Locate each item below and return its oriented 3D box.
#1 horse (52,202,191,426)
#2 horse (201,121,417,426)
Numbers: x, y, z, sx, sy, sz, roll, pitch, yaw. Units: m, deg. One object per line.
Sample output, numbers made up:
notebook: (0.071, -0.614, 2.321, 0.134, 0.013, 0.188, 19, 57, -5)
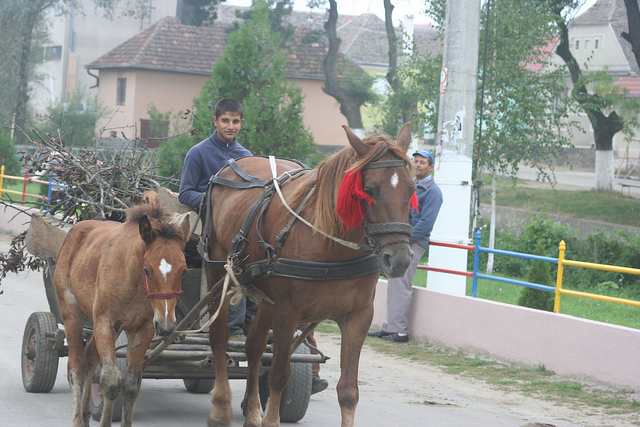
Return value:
horse: (-2.886, 1.436, 11.975, 2.288, 3.195, 1.052, 8, 13, 32)
horse: (-0.264, 1.026, 11.713, 3.151, 4.565, 1.131, 6, 12, 25)
